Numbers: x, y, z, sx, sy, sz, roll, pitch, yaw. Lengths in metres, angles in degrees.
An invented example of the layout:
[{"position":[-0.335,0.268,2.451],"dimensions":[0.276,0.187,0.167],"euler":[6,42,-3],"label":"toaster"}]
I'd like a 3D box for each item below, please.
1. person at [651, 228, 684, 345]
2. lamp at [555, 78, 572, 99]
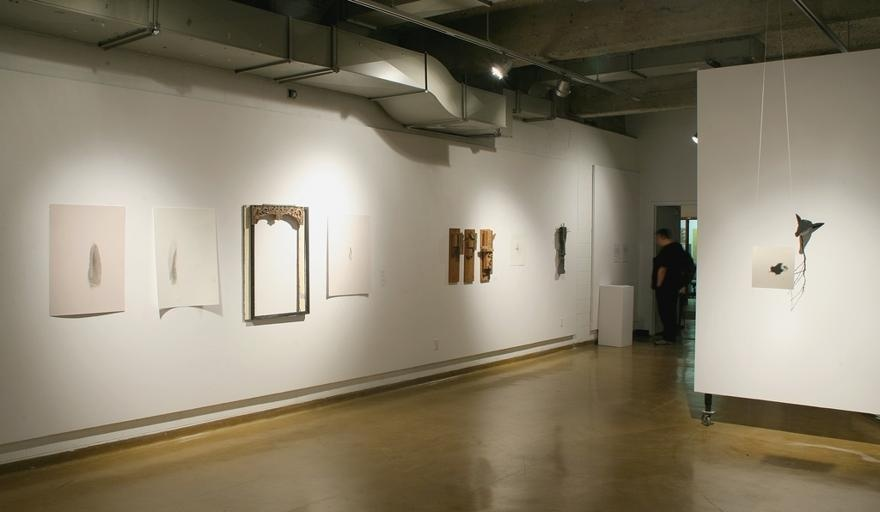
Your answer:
[{"position":[5.360,0.691,13.814],"dimensions":[0.702,2.602,0.585],"euler":[3,6,20],"label":"person"},{"position":[2.585,-3.490,12.260],"dimensions":[0.374,0.345,0.397],"euler":[7,23,20],"label":"lamp"}]
